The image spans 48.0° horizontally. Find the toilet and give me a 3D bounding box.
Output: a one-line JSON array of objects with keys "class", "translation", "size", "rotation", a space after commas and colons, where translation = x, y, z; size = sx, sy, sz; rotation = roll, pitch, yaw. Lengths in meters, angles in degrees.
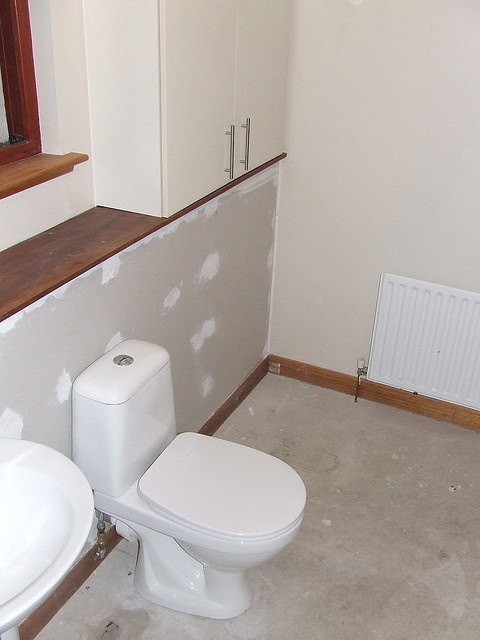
[{"class": "toilet", "translation": [-0.123, 0.466, 1.470], "size": [0.627, 0.639, 0.371], "rotation": [12, 21, 22]}]
